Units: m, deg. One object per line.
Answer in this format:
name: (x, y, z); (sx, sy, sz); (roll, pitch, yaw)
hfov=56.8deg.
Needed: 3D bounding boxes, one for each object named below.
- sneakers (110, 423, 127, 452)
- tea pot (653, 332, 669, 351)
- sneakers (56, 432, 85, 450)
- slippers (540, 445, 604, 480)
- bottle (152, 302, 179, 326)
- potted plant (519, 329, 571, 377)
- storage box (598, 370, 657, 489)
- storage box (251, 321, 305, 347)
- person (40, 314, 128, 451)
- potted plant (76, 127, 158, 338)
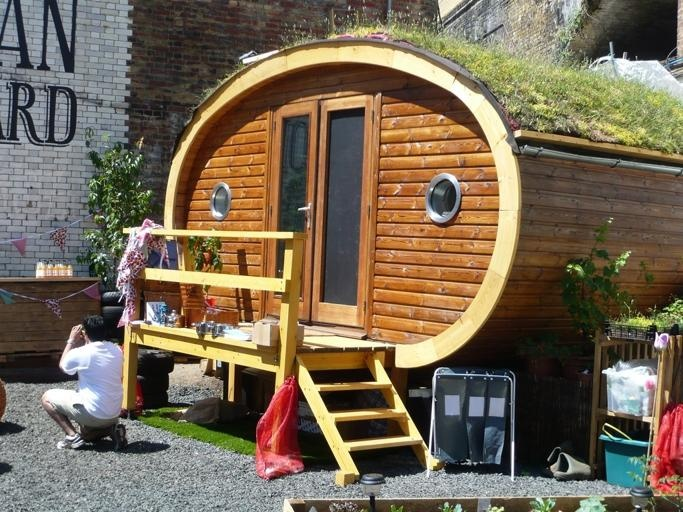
sneakers: (-2.329, 1.875, 6.597); (0.126, 0.328, 0.146); (2, -5, -34)
tea pot: (2.902, 0.770, 5.822); (0.107, 0.180, 0.169); (4, 4, 17)
sneakers: (-2.783, 1.921, 6.535); (0.293, 0.151, 0.130); (-2, 4, 11)
slippers: (2.246, 2.086, 6.253); (0.412, 0.166, 0.237); (-9, 17, -34)
bottle: (-2.173, 0.729, 7.729); (0.293, 0.072, 0.278); (14, 10, -3)
potted plant: (2.217, 1.074, 7.055); (0.483, 0.484, 0.476); (7, -5, -32)
storage box: (2.744, 1.627, 6.090); (0.508, 1.183, 0.575); (1, 2, -42)
storage box: (-0.737, 0.778, 6.368); (0.322, 0.210, 0.333); (2, 4, 14)
person: (-2.649, 1.318, 6.636); (0.792, 1.370, 0.580); (3, 2, 35)
potted plant: (-4.434, -0.960, 12.576); (1.454, 3.235, 1.079); (3, 1, 32)
